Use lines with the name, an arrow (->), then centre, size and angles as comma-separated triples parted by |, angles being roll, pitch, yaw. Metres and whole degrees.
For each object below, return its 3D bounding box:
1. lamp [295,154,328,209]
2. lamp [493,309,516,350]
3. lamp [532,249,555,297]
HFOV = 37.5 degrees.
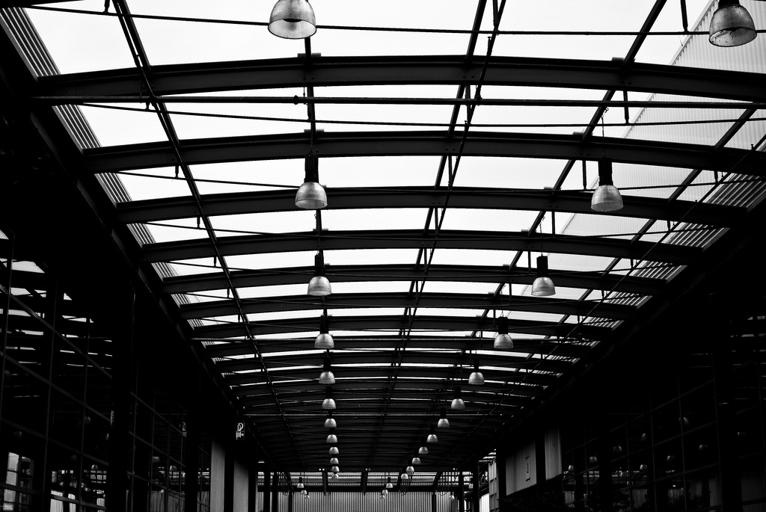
lamp -> -1.711, -1.783, 26.871 | 0.680, 1.286, 0.710 | 2, -18, -7
lamp -> 3.698, 2.372, 34.903 | 0.791, 1.131, 0.845 | 2, -19, -3
lamp -> 4.324, 0.488, 30.736 | 0.560, 1.440, 0.570 | -4, -32, 10
